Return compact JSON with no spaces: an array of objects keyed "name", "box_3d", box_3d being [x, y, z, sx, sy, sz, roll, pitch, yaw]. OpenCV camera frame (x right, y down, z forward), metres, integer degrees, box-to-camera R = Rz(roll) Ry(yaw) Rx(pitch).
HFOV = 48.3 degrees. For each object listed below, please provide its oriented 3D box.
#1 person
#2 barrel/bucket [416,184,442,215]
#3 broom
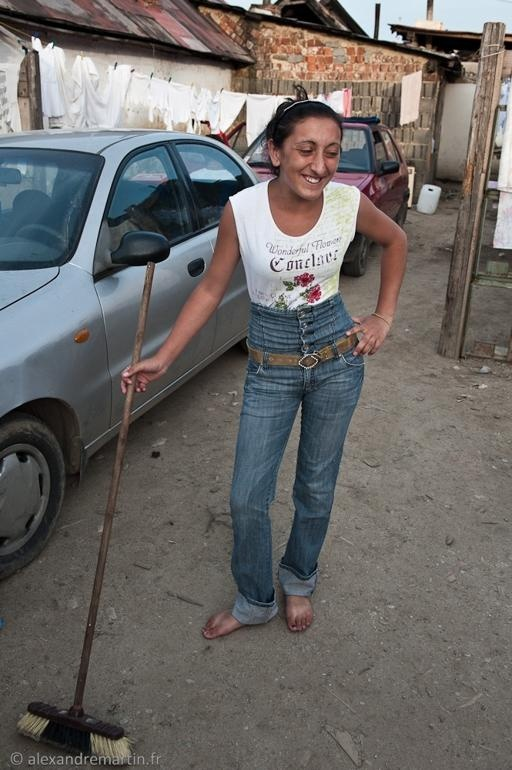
[{"name":"person","box_3d":[0.055,0.074,1.790,0.812,1.728,0.325,-3,22,-26]},{"name":"barrel/bucket","box_3d":[3.760,-4.001,12.490,0.409,0.596,0.480,10,20,10]},{"name":"broom","box_3d":[-0.451,0.346,1.551,0.515,1.213,0.527,0,21,-8]}]
